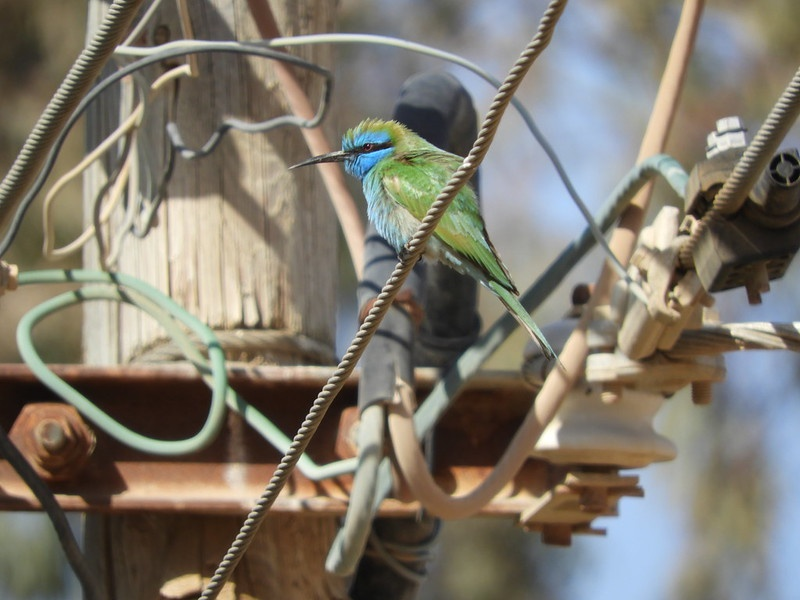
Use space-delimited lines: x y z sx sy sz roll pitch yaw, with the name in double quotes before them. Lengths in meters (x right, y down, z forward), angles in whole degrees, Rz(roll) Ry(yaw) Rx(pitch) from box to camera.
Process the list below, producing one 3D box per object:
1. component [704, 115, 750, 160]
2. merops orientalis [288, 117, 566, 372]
"component" 1.409 -0.720 8.846 0.156 0.176 0.169 -8 -7 13
"merops orientalis" 0.143 -0.459 10.248 1.232 1.841 0.806 5 14 -12
